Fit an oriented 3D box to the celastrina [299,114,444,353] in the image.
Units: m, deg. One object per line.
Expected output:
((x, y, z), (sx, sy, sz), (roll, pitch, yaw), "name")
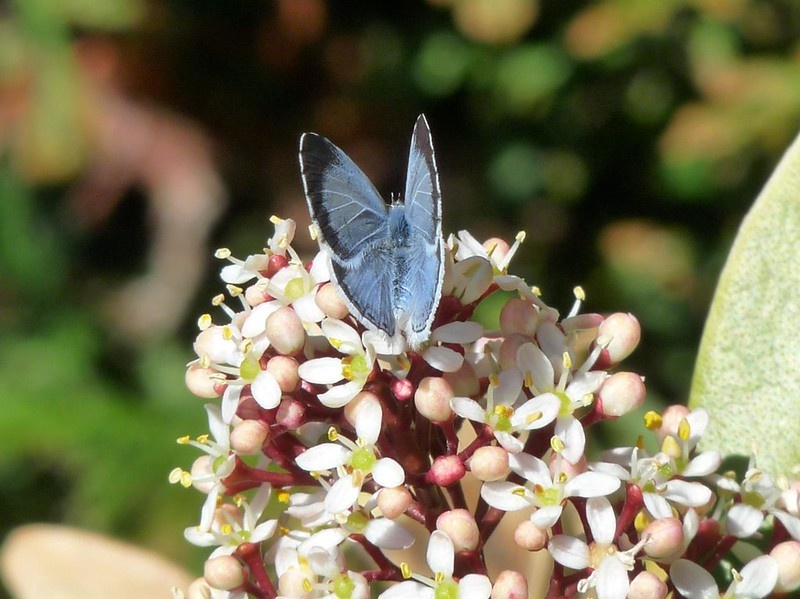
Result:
((-0.019, -0.151, 2.459), (0.326, 0.159, 0.584), (-11, 68, -4), "celastrina")
